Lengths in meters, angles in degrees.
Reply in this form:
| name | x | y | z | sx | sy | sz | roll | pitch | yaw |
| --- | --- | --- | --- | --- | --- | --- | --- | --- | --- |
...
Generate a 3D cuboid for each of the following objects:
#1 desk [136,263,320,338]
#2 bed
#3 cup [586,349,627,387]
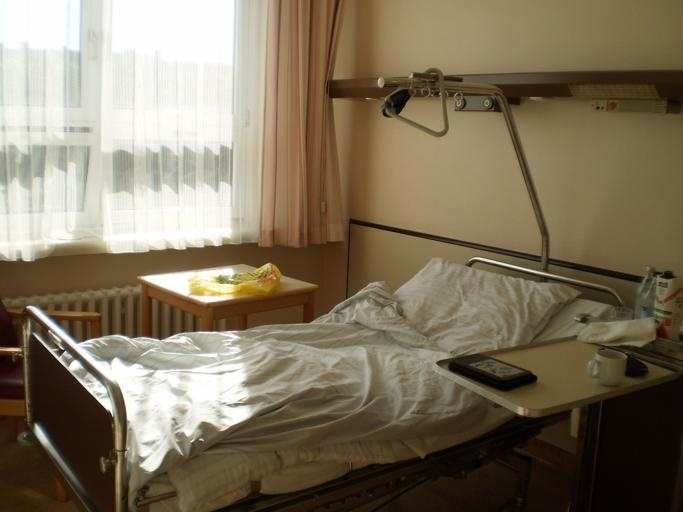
| name | x | y | z | sx | sy | sz | roll | pitch | yaw |
| --- | --- | --- | --- | --- | --- | --- | --- | --- | --- |
| desk | -0.700 | 0.213 | 3.151 | 0.619 | 0.569 | 0.610 | -3 | 12 | -39 |
| bed | 0.046 | 0.481 | 2.119 | 1.565 | 0.428 | 0.997 | -9 | 17 | -30 |
| cup | 0.789 | 0.322 | 1.593 | 0.132 | 0.093 | 0.086 | -5 | 16 | -36 |
